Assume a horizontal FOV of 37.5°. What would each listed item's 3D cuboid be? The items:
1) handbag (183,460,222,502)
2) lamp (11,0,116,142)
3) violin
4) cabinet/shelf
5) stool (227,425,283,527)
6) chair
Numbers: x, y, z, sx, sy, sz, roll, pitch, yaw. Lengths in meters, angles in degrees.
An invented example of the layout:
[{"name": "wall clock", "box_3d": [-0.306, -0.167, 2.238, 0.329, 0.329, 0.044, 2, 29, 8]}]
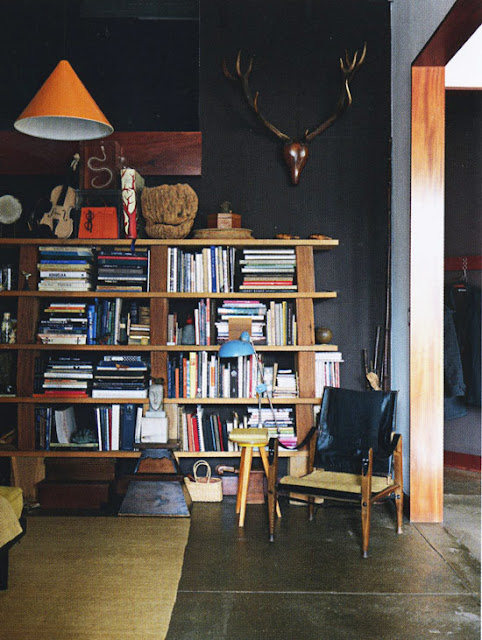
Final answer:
[{"name": "handbag", "box_3d": [-0.242, 1.065, 4.735, 0.270, 0.313, 0.184, -2, -2, -1]}, {"name": "lamp", "box_3d": [-0.881, -1.219, 3.558, 0.474, 0.519, 0.500, -5, 3, 0]}, {"name": "violin", "box_3d": [-1.225, -0.764, 4.850, 0.248, 0.700, 0.148, 9, -9, 0]}, {"name": "cabinet/shelf", "box_3d": [-0.469, 0.364, 4.615, 1.463, 1.394, 0.473, -1, -7, -4]}, {"name": "stool", "box_3d": [0.090, 0.929, 4.302, 0.321, 0.541, 0.732, 1, 3, 1]}, {"name": "chair", "box_3d": [0.569, 0.821, 4.163, 0.762, 0.773, 0.933, 1, 3, 14]}]
